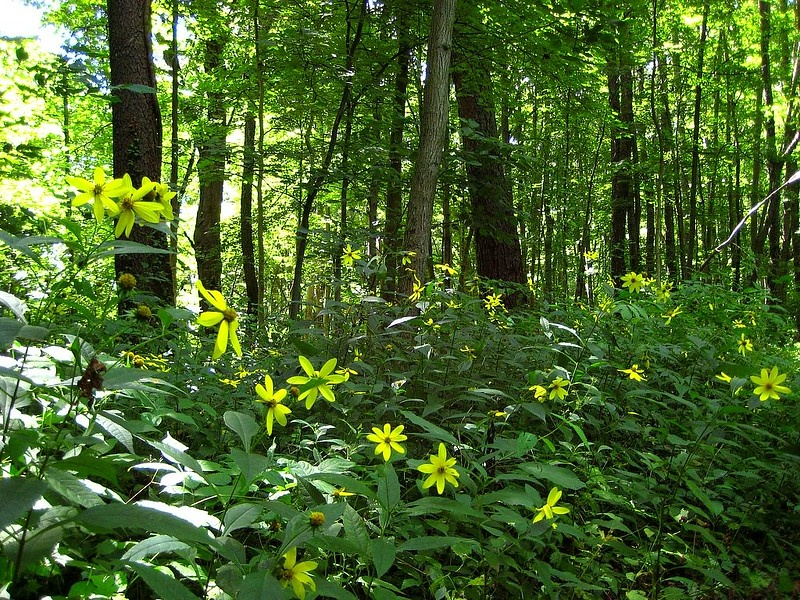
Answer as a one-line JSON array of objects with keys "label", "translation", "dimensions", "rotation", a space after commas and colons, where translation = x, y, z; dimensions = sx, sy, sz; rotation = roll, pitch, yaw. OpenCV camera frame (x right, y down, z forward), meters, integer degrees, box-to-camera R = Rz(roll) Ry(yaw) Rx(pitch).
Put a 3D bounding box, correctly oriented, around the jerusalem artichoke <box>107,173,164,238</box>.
[{"label": "jerusalem artichoke", "translation": [-1.235, -0.440, 3.579], "dimensions": [0.277, 0.266, 0.071], "rotation": [12, 0, -8]}]
